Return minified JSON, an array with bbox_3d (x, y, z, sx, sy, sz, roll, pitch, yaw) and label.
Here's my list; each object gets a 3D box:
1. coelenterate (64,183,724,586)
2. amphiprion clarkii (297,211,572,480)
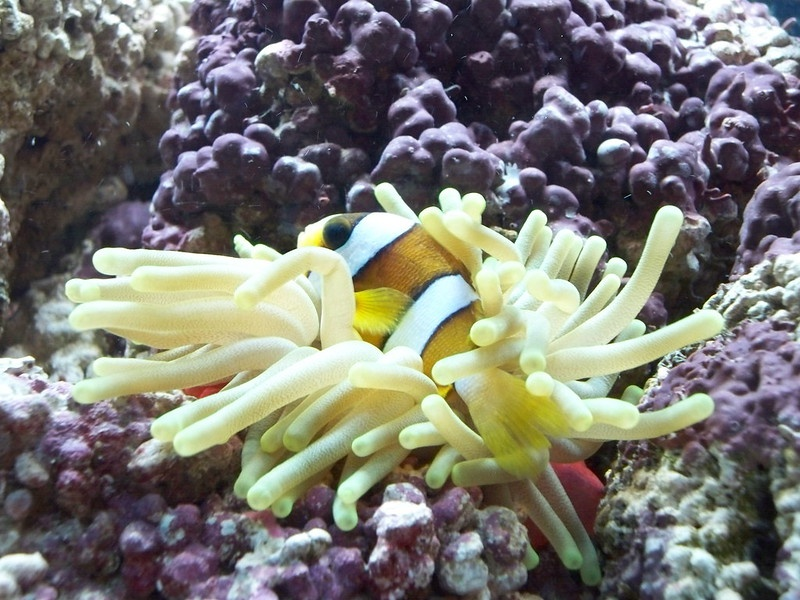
[{"bbox_3d":[-0.024,0.225,3.190,2.125,0.895,1.275,6,77,0],"label":"coelenterate"},{"bbox_3d":[0.113,0.057,3.064,0.789,0.802,0.996,-10,106,-27],"label":"amphiprion clarkii"}]
